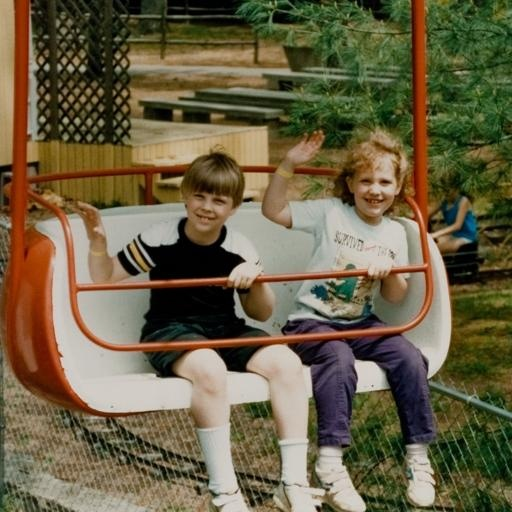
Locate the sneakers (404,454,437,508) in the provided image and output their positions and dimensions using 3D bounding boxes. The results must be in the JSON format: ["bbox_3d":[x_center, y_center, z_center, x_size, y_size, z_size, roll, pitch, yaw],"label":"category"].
[{"bbox_3d":[0.548,0.769,3.442,0.094,0.179,0.135,2,13,8],"label":"sneakers"}]

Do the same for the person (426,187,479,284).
[{"bbox_3d":[1.439,-0.187,7.818,0.408,0.870,0.298,-7,11,-12],"label":"person"}]
